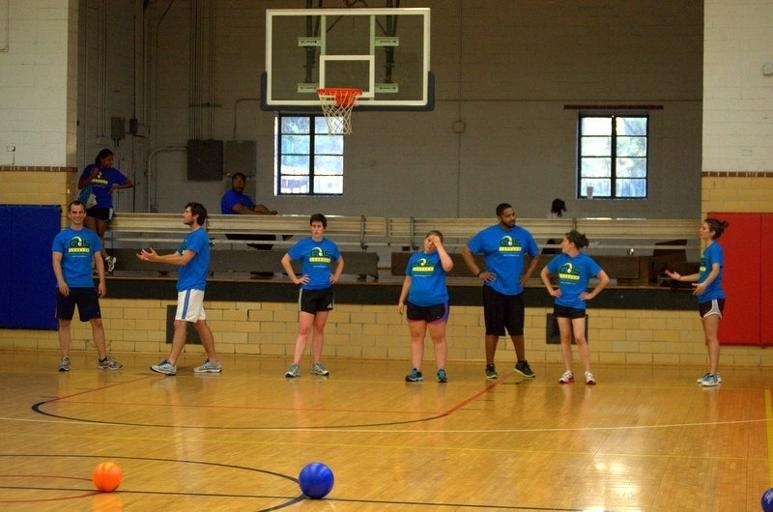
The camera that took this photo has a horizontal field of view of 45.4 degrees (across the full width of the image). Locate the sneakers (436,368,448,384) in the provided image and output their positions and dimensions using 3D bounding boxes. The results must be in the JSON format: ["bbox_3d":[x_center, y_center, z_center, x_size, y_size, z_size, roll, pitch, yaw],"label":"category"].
[{"bbox_3d":[0.812,1.741,13.414,0.172,0.189,0.423,-1,-7,2],"label":"sneakers"}]

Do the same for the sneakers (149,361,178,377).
[{"bbox_3d":[-3.233,1.656,13.552,0.421,0.222,0.159,7,2,-8],"label":"sneakers"}]

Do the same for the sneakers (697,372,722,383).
[{"bbox_3d":[4.650,1.739,13.158,0.368,0.142,0.194,3,-5,-12],"label":"sneakers"}]

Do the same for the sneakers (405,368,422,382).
[{"bbox_3d":[0.429,1.737,13.431,0.128,0.149,0.300,-2,-6,28],"label":"sneakers"}]

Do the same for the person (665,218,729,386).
[{"bbox_3d":[4.599,0.635,13.481,0.619,2.378,1.534,2,4,20],"label":"person"}]

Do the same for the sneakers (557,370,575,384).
[{"bbox_3d":[2.613,1.753,13.332,0.117,0.140,0.298,-3,-8,26],"label":"sneakers"}]

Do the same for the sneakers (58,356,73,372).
[{"bbox_3d":[-4.836,1.643,13.967,0.134,0.140,0.307,1,-4,-6],"label":"sneakers"}]

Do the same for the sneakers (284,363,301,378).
[{"bbox_3d":[-1.372,1.677,13.614,0.234,0.203,0.229,-1,4,-18],"label":"sneakers"}]

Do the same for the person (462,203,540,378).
[{"bbox_3d":[1.702,0.518,13.648,1.083,2.554,0.440,0,3,2],"label":"person"}]

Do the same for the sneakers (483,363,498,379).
[{"bbox_3d":[1.560,1.723,13.786,0.201,0.235,0.554,0,-4,-5],"label":"sneakers"}]

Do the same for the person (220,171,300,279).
[{"bbox_3d":[-2.552,-0.740,17.329,1.010,1.620,0.672,-1,21,2],"label":"person"}]

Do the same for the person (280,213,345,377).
[{"bbox_3d":[-1.079,0.581,13.696,0.884,2.391,0.511,0,3,-12],"label":"person"}]

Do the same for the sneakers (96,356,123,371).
[{"bbox_3d":[-4.196,1.636,14.072,0.365,0.167,0.155,0,4,-1],"label":"sneakers"}]

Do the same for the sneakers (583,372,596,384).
[{"bbox_3d":[2.911,1.745,13.171,0.109,0.123,0.293,-1,-7,6],"label":"sneakers"}]

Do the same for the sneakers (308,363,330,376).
[{"bbox_3d":[-0.981,1.699,13.783,0.274,0.123,0.138,0,0,43],"label":"sneakers"}]

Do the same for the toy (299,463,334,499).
[{"bbox_3d":[-0.659,2.172,9.034,0.330,0.313,0.316,13,-5,0],"label":"toy"}]

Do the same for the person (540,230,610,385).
[{"bbox_3d":[2.679,0.733,13.229,0.904,2.173,0.658,1,3,10],"label":"person"}]

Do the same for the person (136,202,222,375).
[{"bbox_3d":[-2.999,0.479,13.941,1.039,2.558,1.548,0,3,-12],"label":"person"}]

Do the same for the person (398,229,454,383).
[{"bbox_3d":[0.579,0.722,13.362,0.771,2.182,0.631,1,3,9],"label":"person"}]

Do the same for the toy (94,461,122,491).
[{"bbox_3d":[-2.751,2.179,9.143,0.275,0.261,0.229,-1,4,-17],"label":"toy"}]

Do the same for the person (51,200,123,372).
[{"bbox_3d":[-4.667,0.433,14.290,0.829,2.550,1.403,-1,3,-17],"label":"person"}]

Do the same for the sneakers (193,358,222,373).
[{"bbox_3d":[-2.675,1.668,13.900,0.421,0.199,0.173,0,-7,4],"label":"sneakers"}]
